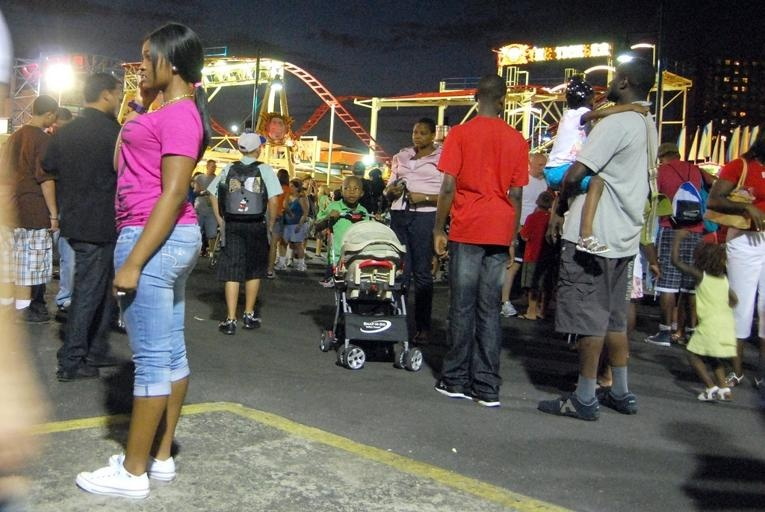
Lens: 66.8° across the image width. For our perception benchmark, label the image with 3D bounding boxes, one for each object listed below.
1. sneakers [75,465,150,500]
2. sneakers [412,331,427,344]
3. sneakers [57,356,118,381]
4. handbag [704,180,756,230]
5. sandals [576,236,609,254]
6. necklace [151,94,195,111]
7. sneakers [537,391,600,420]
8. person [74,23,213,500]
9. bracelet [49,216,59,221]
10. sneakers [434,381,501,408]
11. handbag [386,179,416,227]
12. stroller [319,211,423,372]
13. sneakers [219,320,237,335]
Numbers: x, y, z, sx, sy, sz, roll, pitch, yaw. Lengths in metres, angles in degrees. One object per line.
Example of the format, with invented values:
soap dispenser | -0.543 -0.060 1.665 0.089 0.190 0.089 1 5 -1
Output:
sneakers | -1.605 1.357 3.576 0.485 0.189 0.172 9 -4 -1
sneakers | 0.466 1.072 7.679 0.224 0.200 0.120 6 -9 -1
sneakers | -2.786 1.059 5.591 0.556 0.216 0.182 -8 11 -35
handbag | 3.785 -0.521 6.335 0.458 0.446 0.297 8 9 28
sandals | 1.846 -0.101 5.111 0.260 0.111 0.129 4 13 13
necklace | -1.296 -0.956 3.620 0.204 0.045 0.153 -19 -9 2
sneakers | 1.708 1.344 5.403 0.577 0.225 0.215 4 0 19
person | -1.440 -0.014 3.605 0.548 2.864 0.691 4 8 2
bracelet | -4.122 -0.479 7.273 0.082 0.048 0.084 2 0 -7
sneakers | 0.809 1.326 5.619 0.621 0.235 0.211 13 2 27
handbag | 0.230 -0.688 7.542 0.220 0.545 0.406 8 1 -31
stroller | -0.132 0.428 6.842 1.143 1.620 1.197 3 8 -6
sneakers | -2.016 0.897 7.546 0.210 0.194 0.255 1 8 -16
